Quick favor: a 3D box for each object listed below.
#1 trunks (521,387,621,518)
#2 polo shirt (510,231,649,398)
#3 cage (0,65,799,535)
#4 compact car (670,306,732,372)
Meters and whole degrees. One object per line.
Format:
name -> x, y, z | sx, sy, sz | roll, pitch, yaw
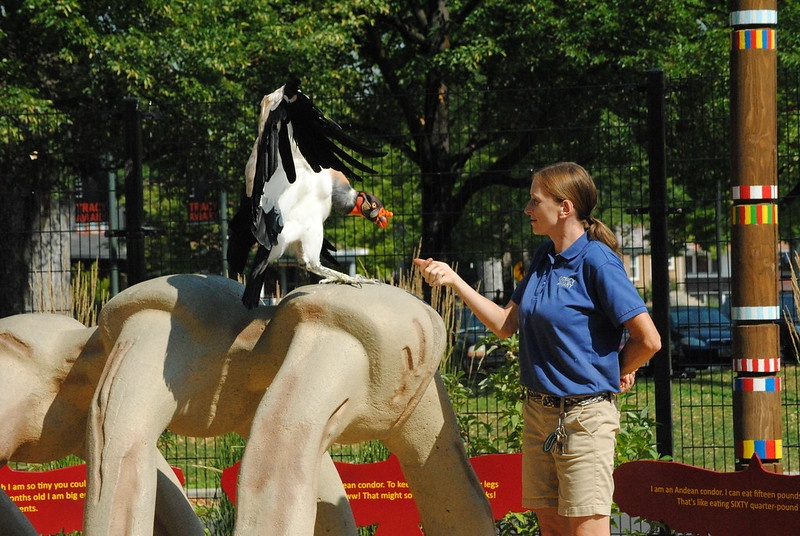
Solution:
trunks -> 1.465, 1.563, 13.181 | 0.640, 1.157, 0.880 | 12, -14, -37
polo shirt -> 1.577, 0.438, 13.421 | 0.930, 1.545, 1.665 | 5, -5, -31
cage -> 0.357, 1.804, 18.481 | 9.118, 5.854, 5.233 | 0, -3, 0
compact car -> 3.497, 0.796, 17.619 | 0.738, 0.676, 1.377 | 0, -7, -6
